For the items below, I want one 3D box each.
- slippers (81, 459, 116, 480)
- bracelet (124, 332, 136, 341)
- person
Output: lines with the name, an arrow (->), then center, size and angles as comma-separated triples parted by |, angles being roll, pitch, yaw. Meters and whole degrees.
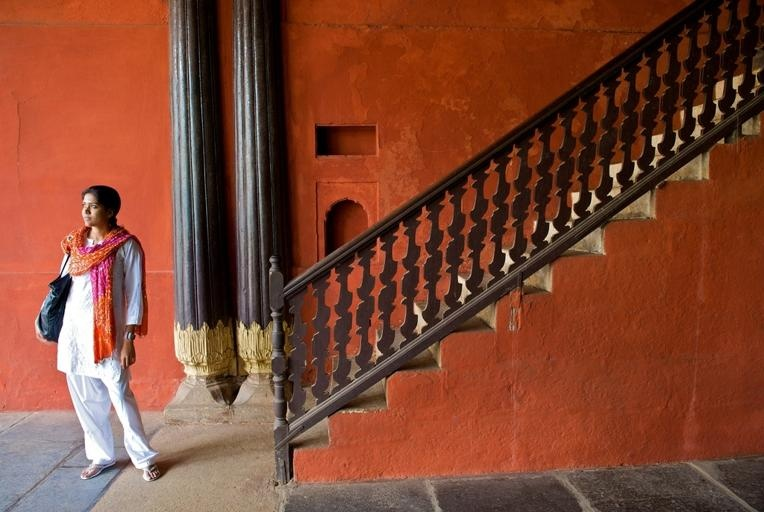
slippers -> -2.584, 1.951, 7.439 | 0.121, 0.107, 0.287 | 14, 15, 41
bracelet -> -2.248, 0.728, 7.306 | 0.076, 0.070, 0.073 | 2, -6, -22
person -> -2.516, 0.701, 7.272 | 0.997, 2.592, 0.670 | -1, 13, -6
